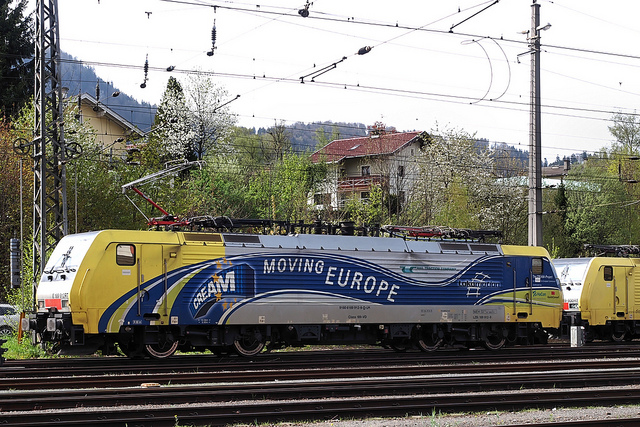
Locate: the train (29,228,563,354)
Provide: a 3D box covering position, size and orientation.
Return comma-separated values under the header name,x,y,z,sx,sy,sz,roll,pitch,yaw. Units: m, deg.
name,x,y,z,sx,sy,sz,roll,pitch,yaw
train,0.713,3.469,43.659,24.143,5.895,4.090,3,4,-21
